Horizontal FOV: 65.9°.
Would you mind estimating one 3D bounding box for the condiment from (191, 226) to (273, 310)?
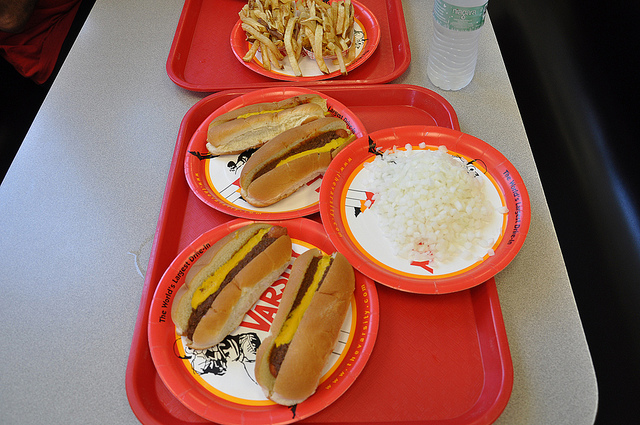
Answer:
[{"bbox_3d":[-0.409,0.273,2.305,0.076,0.068,0.424,15,62,45],"label":"condiment"}]

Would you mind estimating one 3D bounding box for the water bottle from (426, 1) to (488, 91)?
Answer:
[{"bbox_3d":[0.736,-0.951,2.781,0.222,0.583,0.251,-12,40,-10],"label":"water bottle"}]

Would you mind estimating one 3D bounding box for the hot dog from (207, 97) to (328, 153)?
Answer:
[{"bbox_3d":[-0.293,-0.472,2.738,0.584,0.194,0.311,-16,56,0],"label":"hot dog"}]

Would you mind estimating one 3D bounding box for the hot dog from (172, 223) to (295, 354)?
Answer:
[{"bbox_3d":[-0.427,0.327,2.408,0.393,0.253,0.770,9,41,30],"label":"hot dog"}]

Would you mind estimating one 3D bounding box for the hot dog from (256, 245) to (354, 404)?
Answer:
[{"bbox_3d":[-0.078,0.498,2.334,0.328,0.275,0.817,8,41,19],"label":"hot dog"}]

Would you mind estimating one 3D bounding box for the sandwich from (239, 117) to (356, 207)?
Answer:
[{"bbox_3d":[-0.126,-0.269,2.615,0.662,0.203,0.316,-33,49,-14],"label":"sandwich"}]
